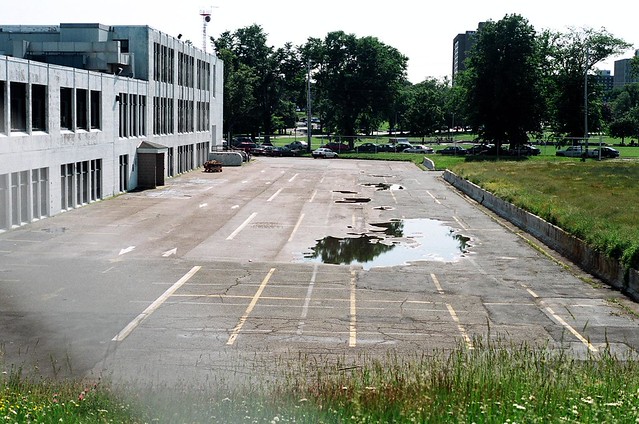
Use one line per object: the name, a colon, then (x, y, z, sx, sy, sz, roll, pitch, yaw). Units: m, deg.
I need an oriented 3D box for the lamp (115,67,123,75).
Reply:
lamp: (-19.426, -13.620, 52.868, 0.774, 0.773, 1.806, -3, 11, -20)

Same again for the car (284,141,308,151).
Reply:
car: (-4.790, -12.548, 106.221, 4.762, 1.504, 2.482, 5, 9, 8)
